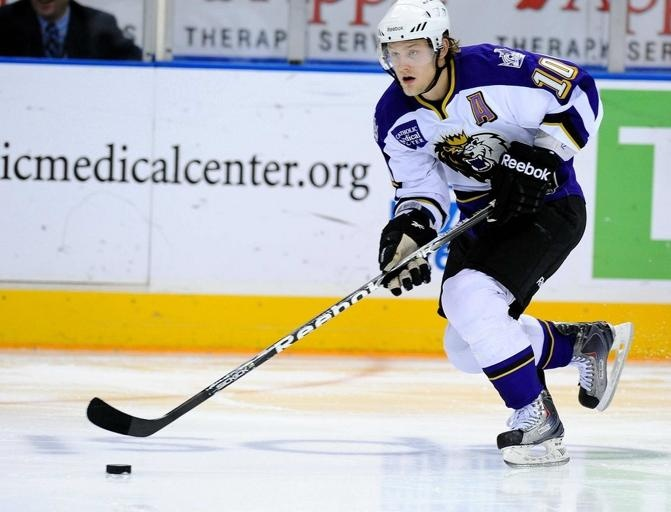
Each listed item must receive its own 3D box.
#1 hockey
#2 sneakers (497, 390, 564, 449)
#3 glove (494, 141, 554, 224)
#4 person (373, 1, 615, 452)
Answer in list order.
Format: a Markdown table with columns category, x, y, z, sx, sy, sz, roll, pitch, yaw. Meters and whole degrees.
| category | x | y | z | sx | sy | sz | roll | pitch | yaw |
| --- | --- | --- | --- | --- | --- | --- | --- | --- | --- |
| hockey | -0.262 | 0.309 | 5.120 | 1.890 | 0.202 | 0.166 | -26 | 37 | -16 |
| sneakers | 0.708 | 0.604 | 4.086 | 0.317 | 0.194 | 0.108 | -2 | -8 | -35 |
| glove | 0.700 | -0.259 | 4.160 | 0.199 | 0.327 | 0.246 | 16 | 13 | 5 |
| person | 0.599 | -0.107 | 4.184 | 0.979 | 1.668 | 0.603 | 3 | 10 | 11 |
